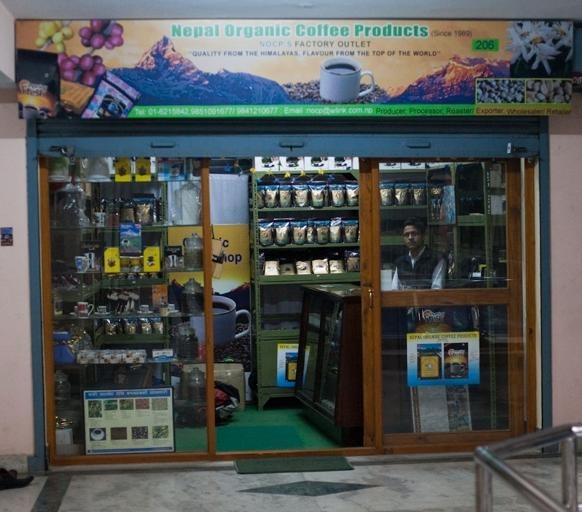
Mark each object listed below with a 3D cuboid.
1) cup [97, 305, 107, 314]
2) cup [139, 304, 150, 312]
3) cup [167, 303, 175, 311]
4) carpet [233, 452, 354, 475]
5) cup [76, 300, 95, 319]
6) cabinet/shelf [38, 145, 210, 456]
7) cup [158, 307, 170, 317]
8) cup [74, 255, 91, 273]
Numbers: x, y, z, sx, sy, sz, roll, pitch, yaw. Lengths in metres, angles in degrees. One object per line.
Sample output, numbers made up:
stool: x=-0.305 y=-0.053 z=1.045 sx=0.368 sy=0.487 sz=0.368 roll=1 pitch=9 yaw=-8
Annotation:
cup: x=-1.471 y=0.415 z=5.226 sx=0.078 sy=0.061 sz=0.058 roll=0 pitch=2 yaw=-7
cup: x=-1.154 y=0.409 z=5.252 sx=0.073 sy=0.047 sz=0.052 roll=-1 pitch=2 yaw=-9
cup: x=-0.935 y=0.401 z=5.234 sx=0.087 sy=0.071 sz=0.045 roll=1 pitch=-4 yaw=-14
carpet: x=0.017 y=1.564 z=5.048 sx=0.887 sy=0.035 sz=0.257 roll=-1 pitch=6 yaw=-4
cup: x=-1.599 y=0.410 z=5.181 sx=0.146 sy=0.134 sz=0.089 roll=9 pitch=-15 yaw=-43
cabinet/shelf: x=-1.243 y=0.385 z=5.131 sx=1.274 sy=2.280 sz=0.348 roll=-1 pitch=5 yaw=-6
cup: x=-0.985 y=0.436 z=5.221 sx=0.072 sy=0.063 sz=0.071 roll=0 pitch=-1 yaw=0
cup: x=-1.619 y=0.062 z=5.188 sx=0.145 sy=0.128 sz=0.089 roll=1 pitch=-4 yaw=-12
